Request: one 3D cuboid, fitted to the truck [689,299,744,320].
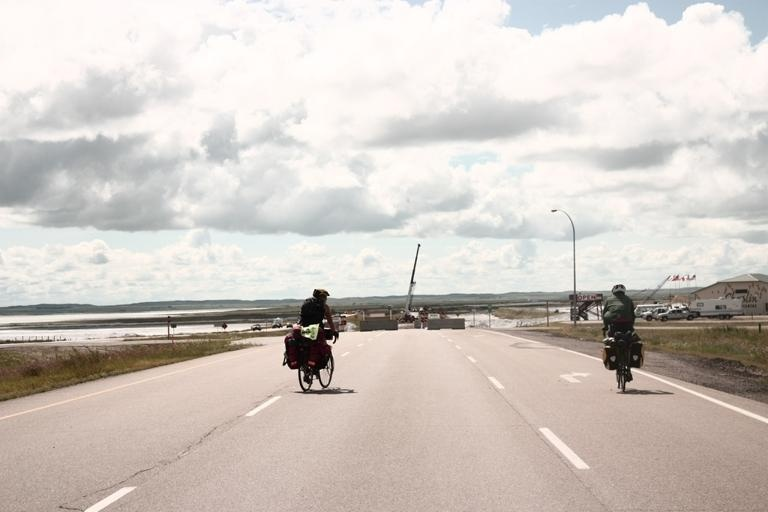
[{"bbox_3d":[43.278,6.893,79.380,6.350,2.476,2.124,-1,-5,-11],"label":"truck"}]
